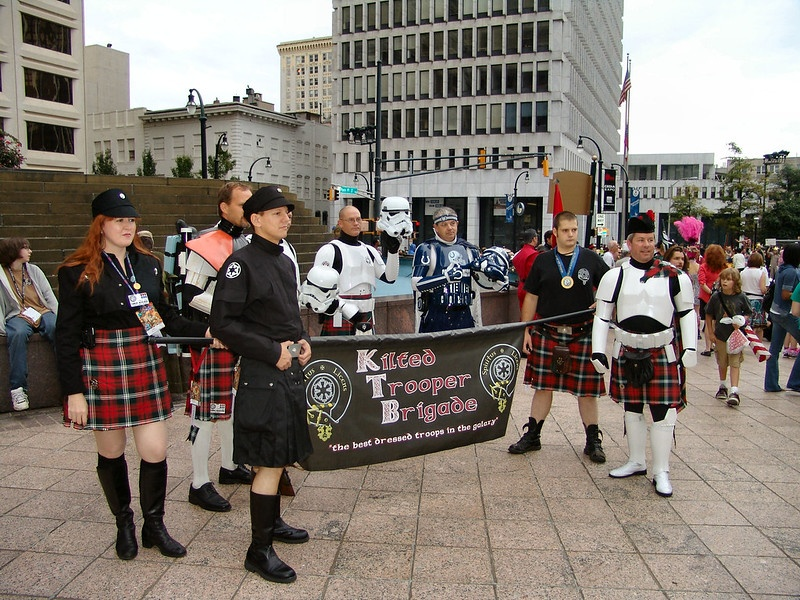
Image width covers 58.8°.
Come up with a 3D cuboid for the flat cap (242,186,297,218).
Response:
[{"bbox_3d":[-0.968,-0.692,5.114,0.287,0.156,0.223,-6,8,19],"label":"flat cap"}]

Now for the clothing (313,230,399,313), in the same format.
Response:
[{"bbox_3d":[-0.478,-0.367,7.326,0.724,0.985,0.876,-4,-5,31],"label":"clothing"}]

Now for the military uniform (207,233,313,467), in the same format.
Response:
[{"bbox_3d":[-0.939,0.385,5.217,0.505,1.660,0.882,3,5,25],"label":"military uniform"}]

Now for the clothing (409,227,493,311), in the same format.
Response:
[{"bbox_3d":[0.493,-0.355,7.776,0.808,0.843,0.729,-3,4,-28],"label":"clothing"}]

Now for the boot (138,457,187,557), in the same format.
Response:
[{"bbox_3d":[-1.776,1.538,5.281,0.252,0.706,0.365,-7,12,-40],"label":"boot"}]

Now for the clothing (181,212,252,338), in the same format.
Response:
[{"bbox_3d":[-1.501,-0.314,6.118,0.433,0.787,0.852,23,28,17],"label":"clothing"}]

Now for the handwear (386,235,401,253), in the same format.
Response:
[{"bbox_3d":[-0.078,-0.563,7.388,0.162,0.174,0.135,3,7,14],"label":"handwear"}]

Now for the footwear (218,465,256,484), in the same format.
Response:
[{"bbox_3d":[-1.488,1.580,6.493,0.377,0.187,0.156,-1,-1,-8],"label":"footwear"}]

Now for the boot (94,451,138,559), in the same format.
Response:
[{"bbox_3d":[-2.114,1.516,5.284,0.244,0.731,0.388,-4,11,-26],"label":"boot"}]

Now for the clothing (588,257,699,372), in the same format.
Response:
[{"bbox_3d":[2.234,0.151,6.573,1.051,1.282,0.503,0,-2,24],"label":"clothing"}]

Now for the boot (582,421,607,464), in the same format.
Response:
[{"bbox_3d":[1.980,1.444,7.170,0.158,0.312,0.449,-4,4,2],"label":"boot"}]

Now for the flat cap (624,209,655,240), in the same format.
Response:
[{"bbox_3d":[2.272,-0.714,6.672,0.192,0.200,0.298,1,-3,-5],"label":"flat cap"}]

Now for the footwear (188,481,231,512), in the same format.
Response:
[{"bbox_3d":[-1.609,1.661,6.022,0.377,0.197,0.175,5,0,26],"label":"footwear"}]

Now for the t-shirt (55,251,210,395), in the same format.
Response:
[{"bbox_3d":[-2.016,0.024,5.300,1.283,1.061,0.631,-9,-2,-36],"label":"t-shirt"}]

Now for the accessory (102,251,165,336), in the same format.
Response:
[{"bbox_3d":[-1.964,-0.072,5.242,0.154,0.684,0.050,-11,-23,-45],"label":"accessory"}]

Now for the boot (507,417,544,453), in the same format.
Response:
[{"bbox_3d":[1.285,1.419,7.357,0.492,0.429,0.214,3,0,-25],"label":"boot"}]

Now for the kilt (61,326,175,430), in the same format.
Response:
[{"bbox_3d":[-2.076,0.560,5.316,0.685,0.702,0.388,-4,3,-30],"label":"kilt"}]

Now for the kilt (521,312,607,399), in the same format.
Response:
[{"bbox_3d":[1.650,0.530,7.066,0.809,0.831,0.291,1,1,14],"label":"kilt"}]

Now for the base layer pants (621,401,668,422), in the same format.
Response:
[{"bbox_3d":[2.316,1.023,6.572,0.185,0.135,0.251,4,-20,1],"label":"base layer pants"}]

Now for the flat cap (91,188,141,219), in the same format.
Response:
[{"bbox_3d":[-2.101,-0.677,5.193,0.276,0.168,0.214,-4,3,27],"label":"flat cap"}]

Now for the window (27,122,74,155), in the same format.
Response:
[{"bbox_3d":[-18.766,-8.506,37.632,0.046,0.969,2.122,0,3,22],"label":"window"}]
